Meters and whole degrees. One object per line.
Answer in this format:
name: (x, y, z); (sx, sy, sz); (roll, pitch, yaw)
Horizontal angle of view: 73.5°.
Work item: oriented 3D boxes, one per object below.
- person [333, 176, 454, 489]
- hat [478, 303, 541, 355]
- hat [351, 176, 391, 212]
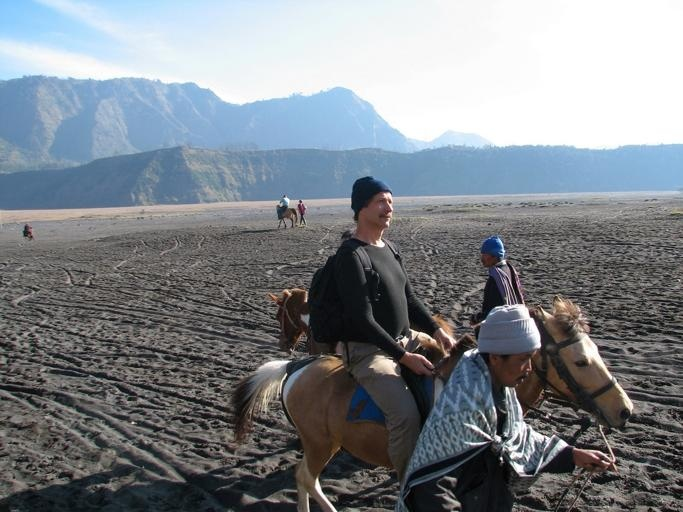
person: (0.504, 0.682, 4.010); (1.133, 2.600, 1.076); (5, 13, 12)
hat: (1.198, 0.512, 3.306); (0.455, 0.305, 0.432); (-12, -6, 41)
hat: (0.230, -0.566, 4.079); (0.347, 0.283, 0.309); (4, 12, 19)
